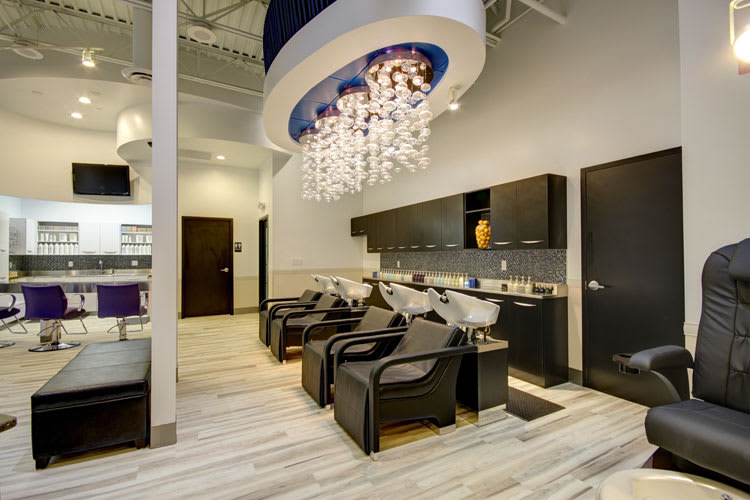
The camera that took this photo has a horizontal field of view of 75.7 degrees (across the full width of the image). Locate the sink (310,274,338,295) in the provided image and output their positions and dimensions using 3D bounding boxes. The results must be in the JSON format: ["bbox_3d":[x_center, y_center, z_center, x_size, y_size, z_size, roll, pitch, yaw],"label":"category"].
[{"bbox_3d":[-0.825,0.576,8.036,0.368,0.485,0.382,-1,-6,-14],"label":"sink"}]

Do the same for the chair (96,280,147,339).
[{"bbox_3d":[-4.369,1.012,8.374,0.717,0.993,0.846,1,8,-7],"label":"chair"}]

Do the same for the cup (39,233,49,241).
[{"bbox_3d":[-7.248,-0.285,10.624,0.176,0.177,0.113,-2,0,-39],"label":"cup"}]

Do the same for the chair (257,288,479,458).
[{"bbox_3d":[0.213,1.312,5.835,1.381,1.101,1.819,1,-4,-20],"label":"chair"}]

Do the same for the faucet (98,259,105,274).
[{"bbox_3d":[-6.241,0.355,11.066,0.116,0.325,0.201,-1,-2,-31],"label":"faucet"}]

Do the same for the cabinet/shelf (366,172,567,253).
[{"bbox_3d":[1.380,-0.439,8.121,0.457,0.964,3.649,-1,-3,-43],"label":"cabinet/shelf"}]

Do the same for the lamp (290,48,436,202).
[{"bbox_3d":[-0.133,-1.661,6.735,1.030,1.263,2.344,-1,-3,-37],"label":"lamp"}]

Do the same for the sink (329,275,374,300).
[{"bbox_3d":[-0.340,0.601,7.424,0.458,0.327,0.388,-1,-5,-17],"label":"sink"}]

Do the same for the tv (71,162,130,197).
[{"bbox_3d":[-5.907,-1.520,10.321,0.757,0.555,0.101,1,-2,-34],"label":"tv"}]

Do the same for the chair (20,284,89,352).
[{"bbox_3d":[-5.400,1.097,8.183,0.772,1.127,0.899,0,-1,-14],"label":"chair"}]

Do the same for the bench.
[{"bbox_3d":[-3.470,1.827,6.059,1.245,0.752,2.027,0,1,-33],"label":"bench"}]

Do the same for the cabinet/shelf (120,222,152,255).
[{"bbox_3d":[-5.602,-0.259,11.279,0.759,0.755,0.253,2,-6,-26],"label":"cabinet/shelf"}]

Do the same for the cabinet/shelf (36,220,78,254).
[{"bbox_3d":[-7.098,-0.273,10.749,0.707,0.719,0.208,1,-5,-34],"label":"cabinet/shelf"}]

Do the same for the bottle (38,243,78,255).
[{"bbox_3d":[-7.046,-0.028,10.761,0.747,0.254,0.152,-1,-2,-38],"label":"bottle"}]

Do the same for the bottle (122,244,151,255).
[{"bbox_3d":[-5.643,-0.029,11.374,0.544,0.262,0.079,-1,-2,-32],"label":"bottle"}]

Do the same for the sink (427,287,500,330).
[{"bbox_3d":[1.118,0.717,5.945,0.817,0.477,0.894,7,4,22],"label":"sink"}]

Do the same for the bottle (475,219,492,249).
[{"bbox_3d":[1.742,-0.255,7.700,0.275,0.410,0.128,3,-1,-14],"label":"bottle"}]

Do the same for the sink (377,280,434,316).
[{"bbox_3d":[0.416,0.650,6.275,0.537,0.324,0.470,7,-7,-18],"label":"sink"}]
